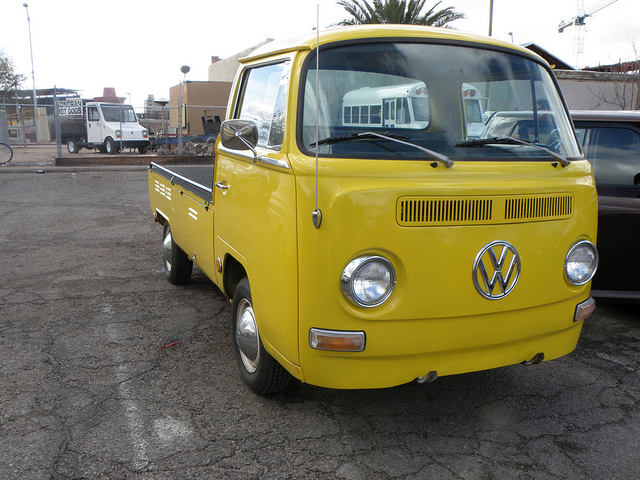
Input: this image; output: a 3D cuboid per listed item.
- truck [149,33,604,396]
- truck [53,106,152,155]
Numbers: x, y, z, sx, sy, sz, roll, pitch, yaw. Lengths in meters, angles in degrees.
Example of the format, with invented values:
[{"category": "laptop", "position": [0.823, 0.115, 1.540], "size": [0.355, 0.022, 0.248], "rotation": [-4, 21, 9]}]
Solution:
[{"category": "truck", "position": [0.024, -0.474, 5.091], "size": [2.800, 2.586, 5.187], "rotation": [-4, 11, -23]}, {"category": "truck", "position": [-13.037, -6.712, 27.249], "size": [6.079, 2.920, 2.893], "rotation": [13, 19, 39]}]
